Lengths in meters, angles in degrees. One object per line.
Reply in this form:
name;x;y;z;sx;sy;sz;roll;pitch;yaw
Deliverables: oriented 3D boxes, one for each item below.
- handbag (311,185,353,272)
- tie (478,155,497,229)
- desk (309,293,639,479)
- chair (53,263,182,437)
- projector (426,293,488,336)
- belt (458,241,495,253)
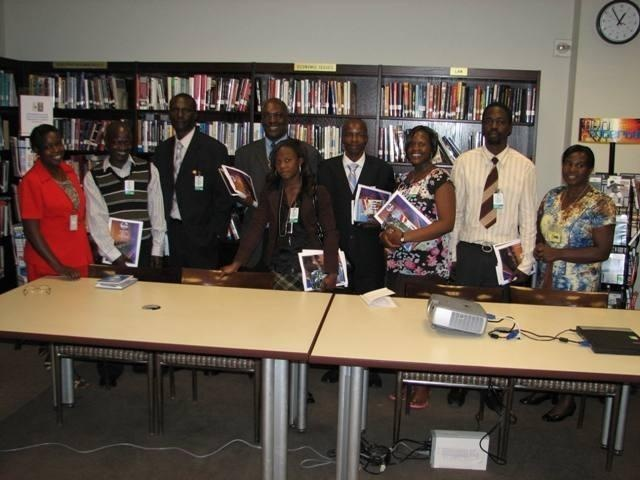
handbag;0.096;-0.058;4.102;0.292;0.685;0.552;2;15;5
tie;1.285;-0.358;4.082;0.128;0.515;0.186;4;15;13
desk;0.867;0.891;3.273;1.803;0.772;0.964;2;15;3
chair;-1.332;0.769;3.813;0.829;0.676;0.918;1;11;0
projector;0.794;0.434;3.145;0.253;0.091;0.250;6;13;9
belt;1.189;0.051;4.103;0.163;0.042;0.093;6;15;36
